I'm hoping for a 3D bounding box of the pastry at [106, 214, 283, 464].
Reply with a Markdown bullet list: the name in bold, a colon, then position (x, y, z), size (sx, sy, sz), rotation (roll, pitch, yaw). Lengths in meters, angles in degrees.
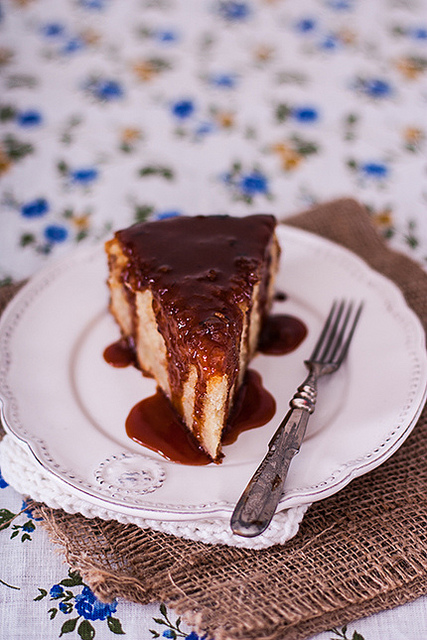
- **pastry**: position (-0.066, 0.074, 2.235), size (0.679, 0.418, 0.750), rotation (-2, 41, -4)
